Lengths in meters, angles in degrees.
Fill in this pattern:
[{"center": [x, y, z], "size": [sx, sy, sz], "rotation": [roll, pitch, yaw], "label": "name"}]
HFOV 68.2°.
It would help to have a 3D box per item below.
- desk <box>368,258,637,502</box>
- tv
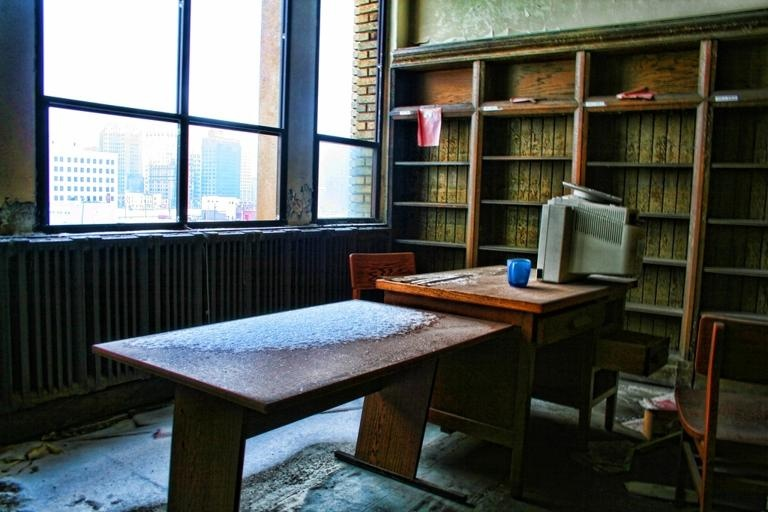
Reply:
[{"center": [0.837, 0.584, 3.840], "size": [1.232, 1.225, 2.072], "rotation": [3, 6, 38], "label": "desk"}, {"center": [1.409, -0.200, 3.862], "size": [0.760, 0.684, 0.646], "rotation": [-5, 8, -37], "label": "tv"}]
